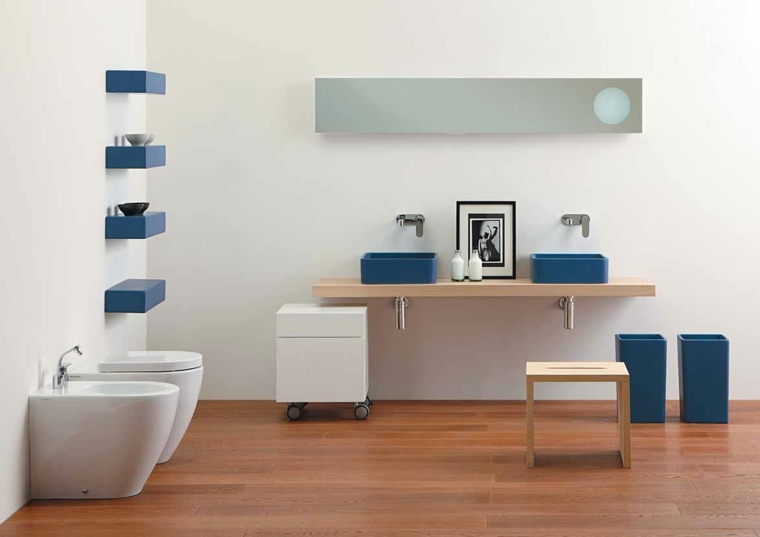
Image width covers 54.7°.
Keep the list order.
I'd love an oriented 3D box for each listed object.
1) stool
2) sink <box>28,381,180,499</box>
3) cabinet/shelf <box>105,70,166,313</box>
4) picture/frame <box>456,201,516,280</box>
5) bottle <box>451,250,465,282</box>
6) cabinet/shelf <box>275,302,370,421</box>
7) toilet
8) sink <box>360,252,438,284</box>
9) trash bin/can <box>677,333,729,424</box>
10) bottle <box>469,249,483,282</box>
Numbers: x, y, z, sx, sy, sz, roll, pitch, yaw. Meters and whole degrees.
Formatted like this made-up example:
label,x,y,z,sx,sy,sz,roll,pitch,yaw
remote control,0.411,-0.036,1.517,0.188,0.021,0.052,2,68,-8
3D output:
label,x,y,z,sx,sy,sz,roll,pitch,yaw
stool,1.219,0.895,4.554,0.597,0.533,0.425,-1,-4,14
sink,-1.543,0.973,4.244,0.795,0.553,0.546,0,-1,-3
cabinet/shelf,-1.647,-0.466,4.915,0.371,1.692,0.546,0,11,4
picture/frame,0.799,-0.214,5.451,0.600,0.762,0.052,0,-1,1
bottle,0.571,-0.023,5.417,0.104,0.202,0.235,0,11,7
cabinet/shelf,-0.335,0.659,5.482,0.757,0.821,0.754,-1,0,6
toilet,-1.389,0.835,4.550,0.774,0.547,0.567,0,3,-1
sink,0.132,-0.009,5.372,0.537,0.178,0.344,0,11,5
trash bin/can,2.237,0.774,5.076,0.317,0.572,0.171,1,12,10
bottle,0.688,-0.017,5.352,0.088,0.205,0.110,1,11,12
